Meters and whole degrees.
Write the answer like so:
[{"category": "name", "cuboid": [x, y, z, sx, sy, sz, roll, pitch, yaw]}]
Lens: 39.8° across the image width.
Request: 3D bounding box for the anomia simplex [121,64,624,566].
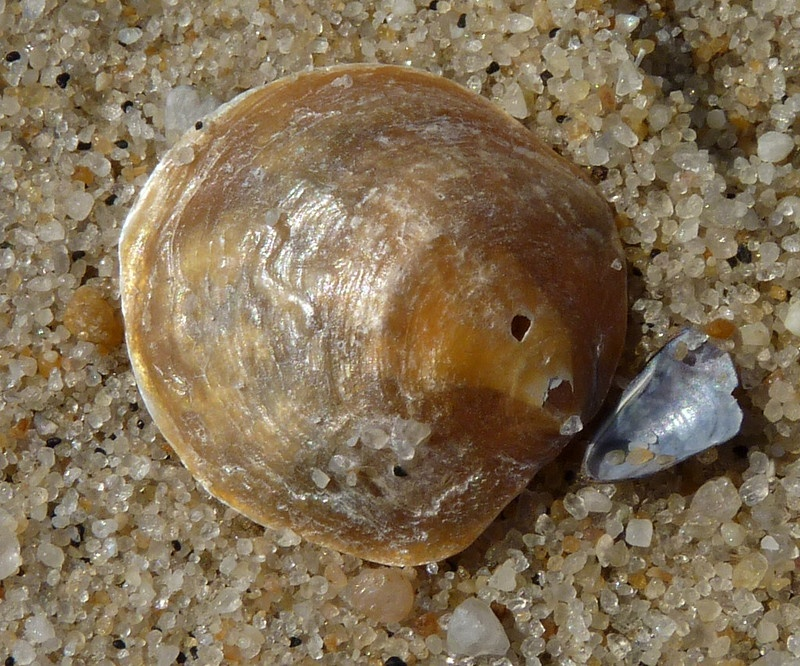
[{"category": "anomia simplex", "cuboid": [0.023, 0.015, 3.674, 1.472, 1.138, 1.780, 12, -68, 23]}]
